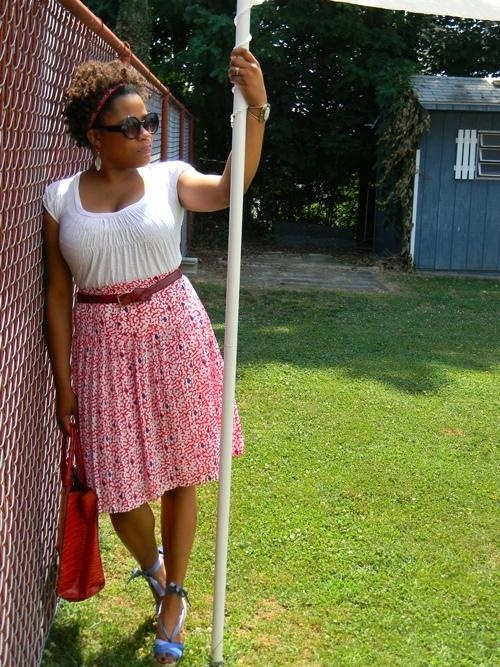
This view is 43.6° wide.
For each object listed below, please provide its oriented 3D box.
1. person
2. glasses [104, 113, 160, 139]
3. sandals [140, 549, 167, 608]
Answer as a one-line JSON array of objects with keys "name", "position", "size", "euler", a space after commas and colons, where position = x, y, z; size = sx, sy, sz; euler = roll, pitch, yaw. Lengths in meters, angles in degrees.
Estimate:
[{"name": "person", "position": [-0.312, 0.117, 1.848], "size": [0.616, 1.787, 0.468], "euler": [4, 15, -1]}, {"name": "glasses", "position": [-0.327, -0.583, 1.740], "size": [0.129, 0.040, 0.106], "euler": [8, 26, 29]}, {"name": "sandals", "position": [-0.302, 0.805, 2.084], "size": [0.071, 0.196, 0.091], "euler": [-1, 4, 37]}]
